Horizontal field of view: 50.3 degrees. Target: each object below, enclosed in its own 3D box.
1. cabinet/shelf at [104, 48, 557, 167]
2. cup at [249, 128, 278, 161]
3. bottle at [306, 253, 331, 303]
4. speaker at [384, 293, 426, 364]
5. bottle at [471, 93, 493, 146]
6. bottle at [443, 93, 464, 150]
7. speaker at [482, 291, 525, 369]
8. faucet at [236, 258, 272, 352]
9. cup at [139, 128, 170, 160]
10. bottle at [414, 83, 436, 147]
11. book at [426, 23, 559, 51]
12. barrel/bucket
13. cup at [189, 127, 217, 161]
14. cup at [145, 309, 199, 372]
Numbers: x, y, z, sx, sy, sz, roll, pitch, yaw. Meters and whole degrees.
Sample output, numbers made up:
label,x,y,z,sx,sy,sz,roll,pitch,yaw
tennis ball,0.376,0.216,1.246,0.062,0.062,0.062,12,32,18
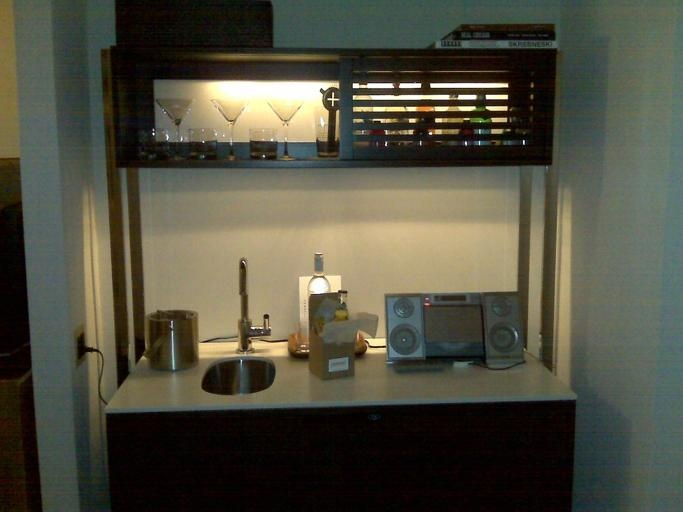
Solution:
label,x,y,z,sx,sy,sz,roll,pitch,yaw
cabinet/shelf,-0.008,-0.437,2.259,1.343,0.322,0.212,2,1,14
cup,-0.232,-0.335,2.189,0.089,0.087,0.089,1,8,0
bottle,-0.070,0.086,2.377,0.075,0.179,0.074,-2,8,0
speaker,0.219,0.227,2.301,0.151,0.214,0.146,-2,-1,-1
bottle,0.422,-0.406,2.186,0.059,0.152,0.051,-6,32,0
bottle,0.343,-0.406,2.164,0.072,0.157,0.089,10,17,35
speaker,0.504,0.242,2.309,0.137,0.228,0.127,-2,-15,6
faucet,-0.277,0.157,2.343,0.138,0.307,0.065,-4,-1,30
cup,-0.559,-0.329,2.174,0.093,0.105,0.094,2,8,0
bottle,0.249,-0.419,2.153,0.061,0.188,0.065,0,14,0
book,0.434,-0.615,2.038,0.351,0.069,0.102,1,14,4
barrel/bucket,-0.523,0.268,2.273,0.166,0.163,0.154,1,8,0
cup,-0.416,-0.334,2.182,0.089,0.099,0.087,0,10,0
cup,-0.523,0.268,2.276,0.159,0.163,0.158,1,7,0
